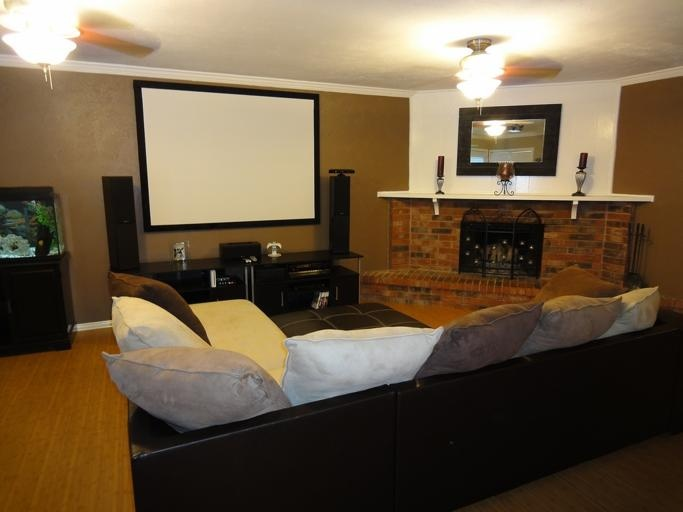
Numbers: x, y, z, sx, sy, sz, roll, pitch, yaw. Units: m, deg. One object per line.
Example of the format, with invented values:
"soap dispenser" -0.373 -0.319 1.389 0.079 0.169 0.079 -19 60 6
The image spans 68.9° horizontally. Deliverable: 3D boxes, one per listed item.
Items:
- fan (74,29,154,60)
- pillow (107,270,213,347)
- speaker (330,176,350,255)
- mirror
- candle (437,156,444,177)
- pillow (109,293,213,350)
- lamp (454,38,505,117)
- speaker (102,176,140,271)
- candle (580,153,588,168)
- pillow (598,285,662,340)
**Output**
"fan" -1.960 -1.830 4.294 0.357 0.069 0.726 2 11 32
"pillow" -1.130 0.315 3.235 0.539 0.209 0.526 19 -1 -41
"speaker" -0.020 -0.487 5.764 0.269 0.920 0.124 -4 11 0
"mirror" 2.098 -1.445 6.077 0.940 0.696 0.034 3 11 12
"candle" 1.251 -1.121 6.254 0.096 0.263 0.226 -2 11 10
"pillow" -0.982 0.372 2.679 0.351 0.138 0.343 9 8 -37
"lamp" 1.241 -1.622 4.485 0.427 0.555 0.412 2 12 8
"speaker" -2.220 -0.324 4.936 0.459 0.938 0.277 1 12 26
"candle" 2.773 -1.093 5.725 0.071 0.183 0.112 3 13 33
"pillow" 1.772 0.333 3.086 0.346 0.102 0.326 -16 9 -36
